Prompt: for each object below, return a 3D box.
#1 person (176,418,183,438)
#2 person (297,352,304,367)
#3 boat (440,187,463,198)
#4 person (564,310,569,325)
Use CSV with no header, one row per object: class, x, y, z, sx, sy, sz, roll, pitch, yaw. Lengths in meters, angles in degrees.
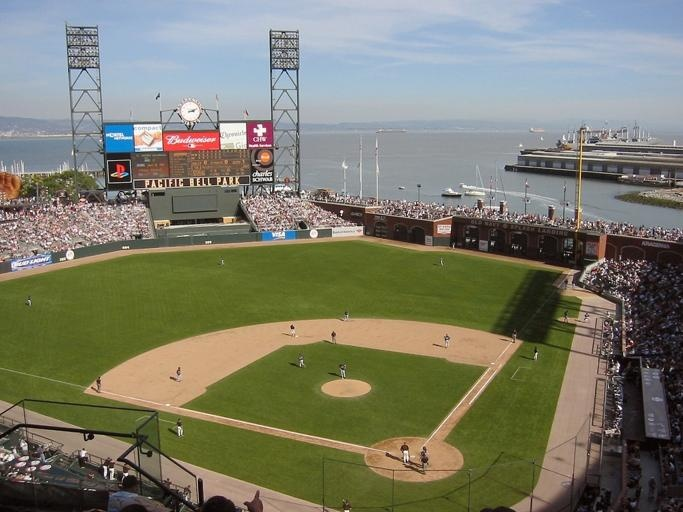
person,-10.730,11.145,45.581,0.492,1.126,1.563,-5,15,-14
person,-3.230,8.174,55.267,0.536,0.916,1.835,-2,15,-4
boat,24.996,-14.440,158.712,6.993,2.508,1.967,5,10,45
person,20.497,5.704,62.998,0.223,0.934,0.542,-11,-25,20
